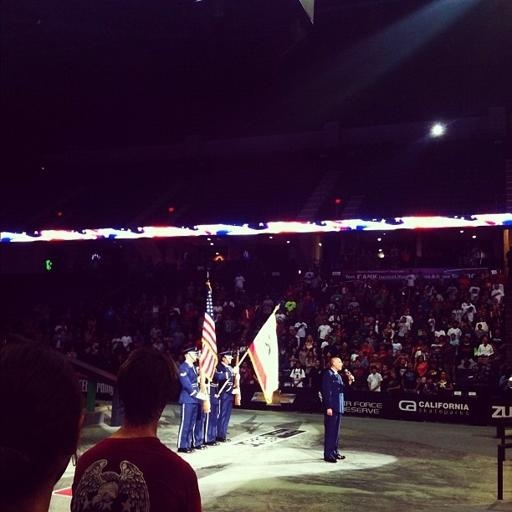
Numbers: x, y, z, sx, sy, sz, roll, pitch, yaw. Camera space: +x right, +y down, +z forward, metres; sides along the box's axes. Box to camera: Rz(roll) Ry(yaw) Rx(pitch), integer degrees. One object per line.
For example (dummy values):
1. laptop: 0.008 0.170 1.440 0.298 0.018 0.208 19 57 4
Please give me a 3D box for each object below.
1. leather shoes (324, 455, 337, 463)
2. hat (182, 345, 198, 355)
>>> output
1. leather shoes: 1.487 4.051 11.748 0.250 0.109 0.224 0 -7 6
2. hat: -1.465 2.118 13.176 0.364 0.169 0.275 4 -8 -24
